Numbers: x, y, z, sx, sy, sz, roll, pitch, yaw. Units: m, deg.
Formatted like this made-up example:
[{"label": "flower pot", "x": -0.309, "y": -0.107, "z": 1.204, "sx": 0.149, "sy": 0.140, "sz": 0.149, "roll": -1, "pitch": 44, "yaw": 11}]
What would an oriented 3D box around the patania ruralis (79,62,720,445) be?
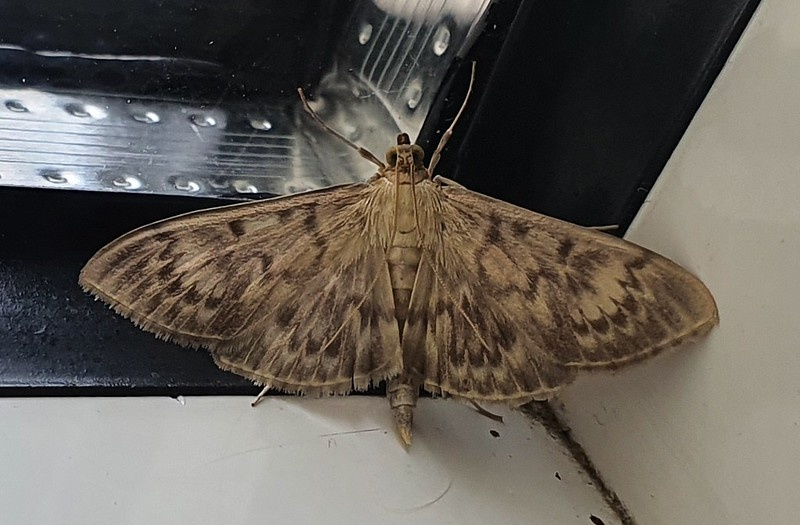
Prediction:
[{"label": "patania ruralis", "x": 0.010, "y": 0.044, "z": 3.421, "sx": 2.229, "sy": 0.564, "sz": 1.183, "roll": 4, "pitch": -68, "yaw": -1}]
